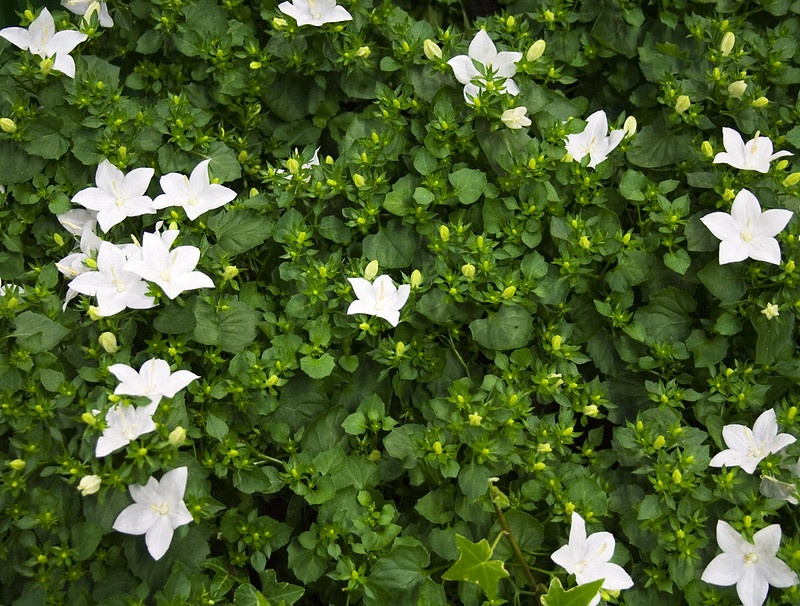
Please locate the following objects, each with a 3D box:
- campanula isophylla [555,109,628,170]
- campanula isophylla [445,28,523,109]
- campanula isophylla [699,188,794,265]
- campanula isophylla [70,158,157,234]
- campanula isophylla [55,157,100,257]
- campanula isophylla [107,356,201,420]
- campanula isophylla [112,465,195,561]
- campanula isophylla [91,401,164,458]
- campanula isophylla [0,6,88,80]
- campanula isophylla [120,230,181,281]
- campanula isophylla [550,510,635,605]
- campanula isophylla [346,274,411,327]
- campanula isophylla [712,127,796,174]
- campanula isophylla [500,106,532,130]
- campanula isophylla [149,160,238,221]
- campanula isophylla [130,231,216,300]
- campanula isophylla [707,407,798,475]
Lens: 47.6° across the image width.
[{"bbox_3d":[0.765,-0.645,3.590,0.275,0.167,0.159,-20,47,-33],"label":"campanula isophylla"},{"bbox_3d":[0.334,-0.907,3.531,0.296,0.225,0.222,11,38,-2],"label":"campanula isophylla"},{"bbox_3d":[1.254,-0.271,3.317,0.308,0.187,0.221,9,38,-4],"label":"campanula isophylla"},{"bbox_3d":[-1.075,-0.437,3.499,0.226,0.263,0.138,-12,70,-30],"label":"campanula isophylla"},{"bbox_3d":[-1.246,-0.312,3.549,0.089,0.176,0.261,2,67,-59],"label":"campanula isophylla"},{"bbox_3d":[-0.830,0.256,3.115,0.224,0.120,0.221,24,11,36],"label":"campanula isophylla"},{"bbox_3d":[-0.838,0.720,3.165,0.319,0.287,0.098,55,9,5],"label":"campanula isophylla"},{"bbox_3d":[-0.939,0.468,3.154,0.188,0.091,0.180,-38,65,-15],"label":"campanula isophylla"},{"bbox_3d":[-1.416,-1.075,3.644,0.321,0.191,0.251,14,39,2],"label":"campanula isophylla"},{"bbox_3d":[-0.821,-0.159,3.208,0.182,0.076,0.224,-16,32,-18],"label":"campanula isophylla"},{"bbox_3d":[0.651,0.871,3.044,0.266,0.118,0.315,17,75,-1],"label":"campanula isophylla"},{"bbox_3d":[-0.080,-0.018,3.218,0.217,0.097,0.185,11,39,-2],"label":"campanula isophylla"},{"bbox_3d":[1.305,-0.572,3.437,0.275,0.213,0.163,-1,39,-16],"label":"campanula isophylla"},{"bbox_3d":[0.444,-0.711,3.467,0.087,0.090,0.056,-17,19,-8],"label":"campanula isophylla"},{"bbox_3d":[-0.782,-0.402,3.408,0.294,0.265,0.202,-14,44,-28],"label":"campanula isophylla"},{"bbox_3d":[-0.841,-0.142,3.149,0.250,0.259,0.118,-5,62,-61],"label":"campanula isophylla"},{"bbox_3d":[1.247,0.518,3.252,0.254,0.134,0.240,-33,55,8],"label":"campanula isophylla"}]
